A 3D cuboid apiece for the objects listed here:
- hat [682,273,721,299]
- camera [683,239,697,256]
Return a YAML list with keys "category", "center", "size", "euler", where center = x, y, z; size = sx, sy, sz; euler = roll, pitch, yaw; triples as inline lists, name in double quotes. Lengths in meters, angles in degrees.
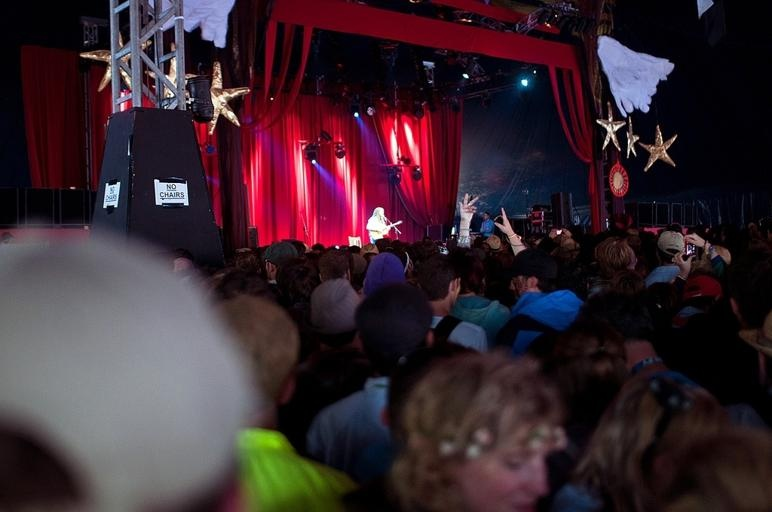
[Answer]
- category: "hat"
  center: [2.047, 0.181, 3.319]
  size: [0.153, 0.155, 0.218]
  euler: [-5, -1, 2]
- category: "camera"
  center: [3.015, -0.081, 5.042]
  size: [0.100, 0.109, 0.182]
  euler: [9, 9, 12]
